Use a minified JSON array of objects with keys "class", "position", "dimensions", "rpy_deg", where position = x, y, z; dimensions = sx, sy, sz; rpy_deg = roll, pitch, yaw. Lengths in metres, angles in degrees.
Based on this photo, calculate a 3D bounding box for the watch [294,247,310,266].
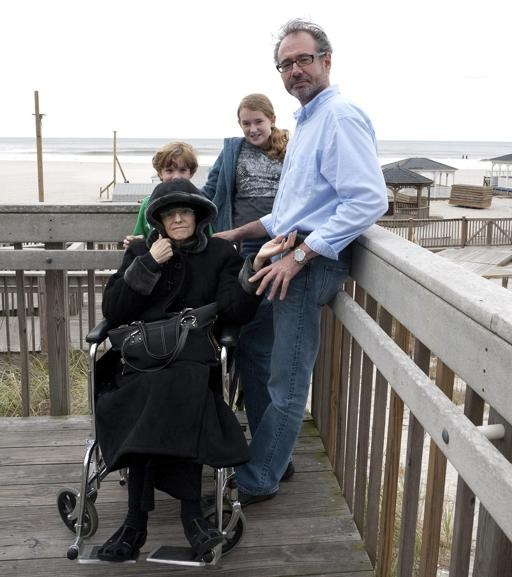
[{"class":"watch","position":[0.161,-0.123,2.141],"dimensions":[0.038,0.070,0.062],"rpy_deg":[-8,17,23]}]

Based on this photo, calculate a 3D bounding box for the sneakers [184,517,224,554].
[{"class":"sneakers","position":[-0.170,0.802,1.883],"dimensions":[0.068,0.071,0.165],"rpy_deg":[-26,-9,-21]}]

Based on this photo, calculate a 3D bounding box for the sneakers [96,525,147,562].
[{"class":"sneakers","position":[-0.443,0.874,1.951],"dimensions":[0.158,0.109,0.136],"rpy_deg":[-2,11,-14]}]

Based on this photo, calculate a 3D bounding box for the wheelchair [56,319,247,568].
[{"class":"wheelchair","position":[-0.416,0.586,2.239],"dimensions":[0.784,0.836,0.833],"rpy_deg":[2,10,8]}]

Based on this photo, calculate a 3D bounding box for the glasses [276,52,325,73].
[{"class":"glasses","position":[0.176,-0.889,2.252],"dimensions":[0.189,0.078,0.088],"rpy_deg":[2,10,3]}]
